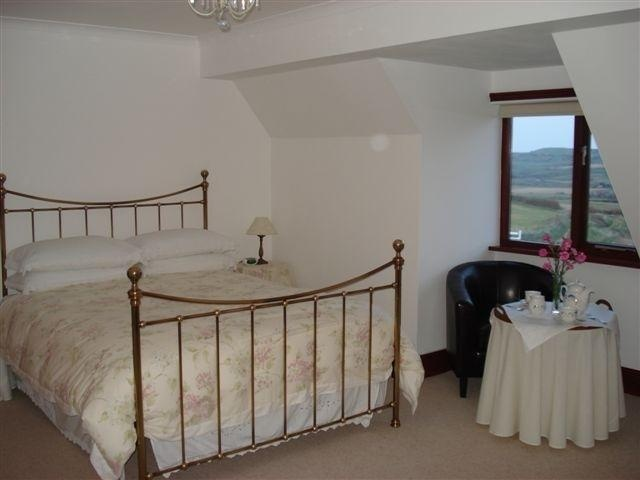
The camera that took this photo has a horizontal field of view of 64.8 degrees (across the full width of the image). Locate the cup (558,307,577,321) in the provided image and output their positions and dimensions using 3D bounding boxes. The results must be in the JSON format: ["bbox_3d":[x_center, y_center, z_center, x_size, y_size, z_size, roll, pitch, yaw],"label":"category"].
[{"bbox_3d":[1.463,0.436,2.980,0.079,0.082,0.084,-6,8,1],"label":"cup"}]

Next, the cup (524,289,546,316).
[{"bbox_3d":[1.333,0.387,3.156,0.087,0.141,0.143,0,-4,-1],"label":"cup"}]

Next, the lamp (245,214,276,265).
[{"bbox_3d":[-0.551,-0.002,4.816,0.277,0.439,0.282,-2,10,-19],"label":"lamp"}]

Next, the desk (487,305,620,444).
[{"bbox_3d":[1.425,0.836,3.053,0.856,0.760,0.387,0,8,1],"label":"desk"}]

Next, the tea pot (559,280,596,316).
[{"bbox_3d":[1.625,0.366,3.185,0.114,0.200,0.185,6,-7,-35],"label":"tea pot"}]
